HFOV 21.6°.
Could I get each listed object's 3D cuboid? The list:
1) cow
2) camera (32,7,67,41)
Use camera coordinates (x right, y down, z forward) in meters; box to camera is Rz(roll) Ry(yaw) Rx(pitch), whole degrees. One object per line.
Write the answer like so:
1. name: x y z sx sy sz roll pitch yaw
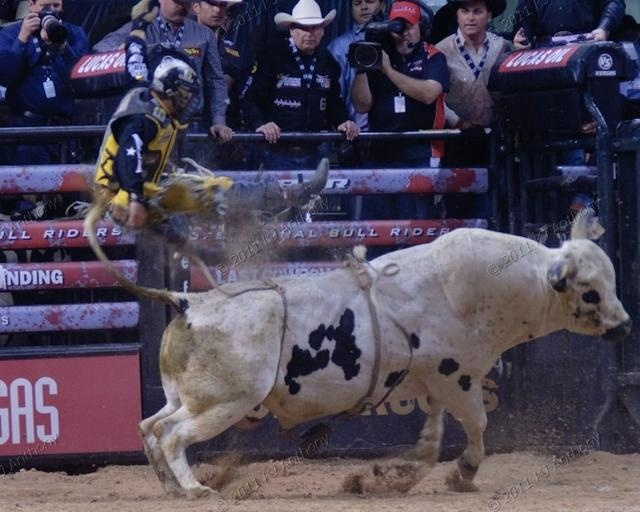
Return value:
1. cow: 0.326 0.746 12.971 4.147 2.516 1.003 0 1 -12
2. camera: -2.284 -1.969 14.268 0.177 0.152 0.309 8 27 -15
